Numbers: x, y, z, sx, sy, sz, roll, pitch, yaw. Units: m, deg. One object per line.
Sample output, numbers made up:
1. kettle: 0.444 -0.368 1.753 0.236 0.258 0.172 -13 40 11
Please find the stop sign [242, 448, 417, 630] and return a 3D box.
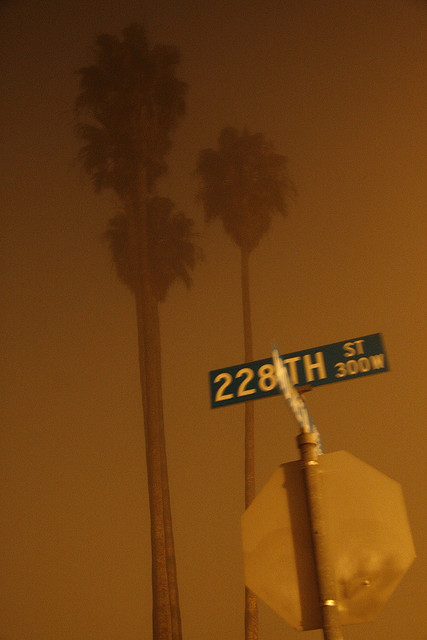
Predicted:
1. stop sign: 0.294 0.560 2.005 0.483 0.430 0.027 -16 -19 16
